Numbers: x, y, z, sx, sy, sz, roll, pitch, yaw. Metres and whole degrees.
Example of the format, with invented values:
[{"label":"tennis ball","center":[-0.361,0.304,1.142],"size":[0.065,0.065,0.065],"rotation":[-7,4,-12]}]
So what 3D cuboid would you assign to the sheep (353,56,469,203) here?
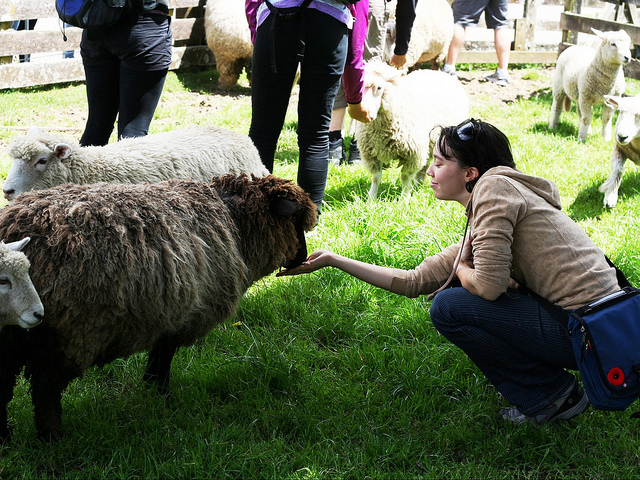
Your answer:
[{"label":"sheep","center":[0.849,-1.131,6.197],"size":[0.786,1.404,2.075],"rotation":[4,11,27]}]

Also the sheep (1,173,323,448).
[{"label":"sheep","center":[-0.921,0.311,3.059],"size":[1.552,1.244,0.485],"rotation":[-8,21,-33]}]
